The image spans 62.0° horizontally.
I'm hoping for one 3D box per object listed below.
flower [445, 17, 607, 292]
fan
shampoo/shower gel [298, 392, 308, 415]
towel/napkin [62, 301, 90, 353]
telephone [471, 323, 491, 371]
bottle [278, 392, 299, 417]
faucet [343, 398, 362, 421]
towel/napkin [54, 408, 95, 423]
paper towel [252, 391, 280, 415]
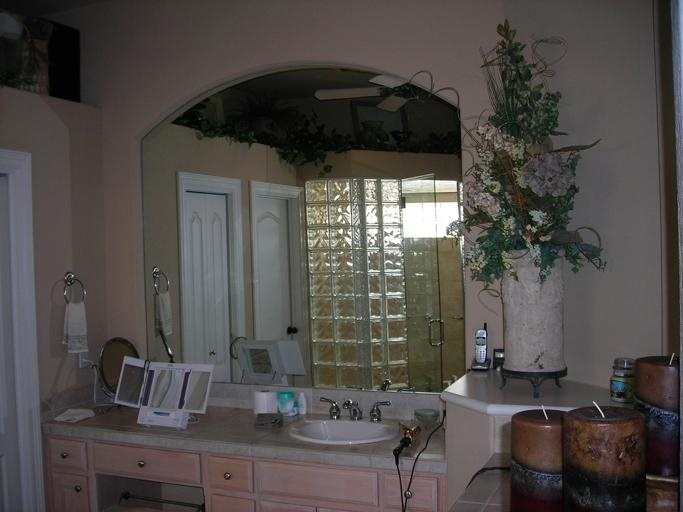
[{"bbox_3d":[0.814,-0.371,2.558,0.602,1.039,0.618,4,-5,-37],"label":"flower"},{"bbox_3d":[0.238,-1.001,3.420,0.435,0.101,0.541,-4,-6,-7],"label":"fan"},{"bbox_3d":[-0.248,0.941,3.624,0.044,0.115,0.065,-1,0,19],"label":"shampoo/shower gel"},{"bbox_3d":[-1.760,0.474,3.755,0.140,0.233,0.160,-1,-1,-27],"label":"towel/napkin"},{"bbox_3d":[0.750,0.489,3.055,0.087,0.241,0.086,1,8,14],"label":"telephone"},{"bbox_3d":[-0.340,0.934,3.606,0.127,0.130,0.099,-1,-1,-20],"label":"bottle"},{"bbox_3d":[0.071,0.939,3.462,0.115,0.125,0.083,-3,-1,12],"label":"faucet"},{"bbox_3d":[-1.724,1.025,3.675,0.180,0.052,0.220,-2,-1,41],"label":"towel/napkin"},{"bbox_3d":[-0.483,0.925,3.586,0.135,0.209,0.137,7,-12,-32],"label":"paper towel"}]
